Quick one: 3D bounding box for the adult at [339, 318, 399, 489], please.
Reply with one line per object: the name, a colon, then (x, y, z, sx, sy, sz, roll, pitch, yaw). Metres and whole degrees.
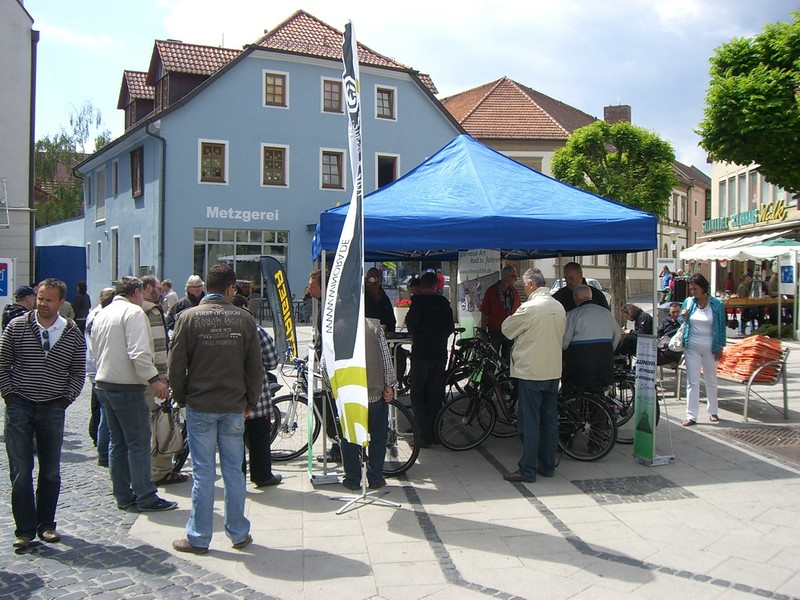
adult: (-0.418, 1.168, 8.055, 0.818, 2.036, 0.538, -4, 17, -12)

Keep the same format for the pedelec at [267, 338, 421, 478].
pedelec: (-0.801, 1.339, 8.701, 1.876, 1.222, 0.936, -1, 23, 9)

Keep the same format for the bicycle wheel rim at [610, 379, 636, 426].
bicycle wheel rim: (3.096, 1.294, 9.960, 0.174, 0.774, 0.830, 22, -2, 21)

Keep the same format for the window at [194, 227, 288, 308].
window: (-4.321, -1.013, 19.093, 2.861, 2.219, 0.112, -1, 6, -26)

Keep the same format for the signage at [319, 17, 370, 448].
signage: (-0.566, -0.475, 7.316, 0.442, 3.759, 0.922, -1, 7, -5)

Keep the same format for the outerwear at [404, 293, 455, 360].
outerwear: (0.405, 0.336, 9.615, 0.792, 1.149, 0.694, 0, -2, 2)

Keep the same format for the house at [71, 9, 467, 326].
house: (-6.751, -6.146, 33.075, 14.840, 12.779, 11.872, -3, 3, -30)

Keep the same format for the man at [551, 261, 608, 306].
man: (2.508, -0.223, 10.066, 0.875, 0.455, 0.527, -7, 7, -40)

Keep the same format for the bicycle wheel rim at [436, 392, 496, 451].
bicycle wheel rim: (0.879, 1.584, 9.324, 0.842, 0.946, 0.201, 5, 28, -17)

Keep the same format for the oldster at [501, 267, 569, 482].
oldster: (1.545, 0.853, 8.345, 0.735, 2.367, 0.638, 0, 0, -31)

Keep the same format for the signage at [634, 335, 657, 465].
signage: (2.907, 1.174, 8.558, 0.092, 1.540, 0.327, -4, 8, -27)

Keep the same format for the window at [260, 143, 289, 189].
window: (-4.870, -5.232, 28.247, 0.969, 1.570, 0.460, -2, 7, -12)

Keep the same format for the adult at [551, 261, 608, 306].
adult: (2.510, -0.196, 10.076, 0.875, 0.455, 0.527, -7, 7, -40)

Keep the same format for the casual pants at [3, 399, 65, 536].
casual pants: (-3.348, 1.552, 6.699, 0.507, 1.318, 0.433, -4, 8, -31)

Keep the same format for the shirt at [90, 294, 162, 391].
shirt: (-2.821, 0.426, 7.430, 1.014, 0.936, 0.494, 1, 0, 39)

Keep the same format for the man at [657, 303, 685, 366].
man: (4.692, 0.570, 12.480, 0.624, 1.015, 0.542, -14, 18, -41)

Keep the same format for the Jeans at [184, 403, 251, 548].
Jeans: (-1.668, 1.598, 6.565, 0.546, 1.258, 0.312, -2, 7, -19)

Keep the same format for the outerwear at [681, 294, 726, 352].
outerwear: (4.225, 0.349, 10.038, 0.694, 1.019, 0.504, -5, -7, 44)

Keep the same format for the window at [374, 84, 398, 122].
window: (-0.588, -8.309, 30.293, 1.589, 1.959, 0.137, -2, 1, -39)

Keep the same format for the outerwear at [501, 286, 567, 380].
outerwear: (1.555, 0.397, 8.178, 0.702, 1.022, 0.360, -3, 7, -21)

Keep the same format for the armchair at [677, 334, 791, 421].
armchair: (5.126, 1.209, 11.340, 0.738, 1.056, 1.940, -2, 2, -12)

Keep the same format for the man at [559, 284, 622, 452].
man: (2.342, 0.722, 8.895, 0.678, 1.906, 0.560, -1, 19, 7)

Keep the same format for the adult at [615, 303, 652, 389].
adult: (3.794, 0.578, 11.547, 0.576, 0.989, 0.485, -1, 1, 16)

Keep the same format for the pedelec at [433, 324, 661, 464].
pedelec: (1.747, 1.174, 9.371, 2.817, 1.814, 1.447, 2, 2, 32)
